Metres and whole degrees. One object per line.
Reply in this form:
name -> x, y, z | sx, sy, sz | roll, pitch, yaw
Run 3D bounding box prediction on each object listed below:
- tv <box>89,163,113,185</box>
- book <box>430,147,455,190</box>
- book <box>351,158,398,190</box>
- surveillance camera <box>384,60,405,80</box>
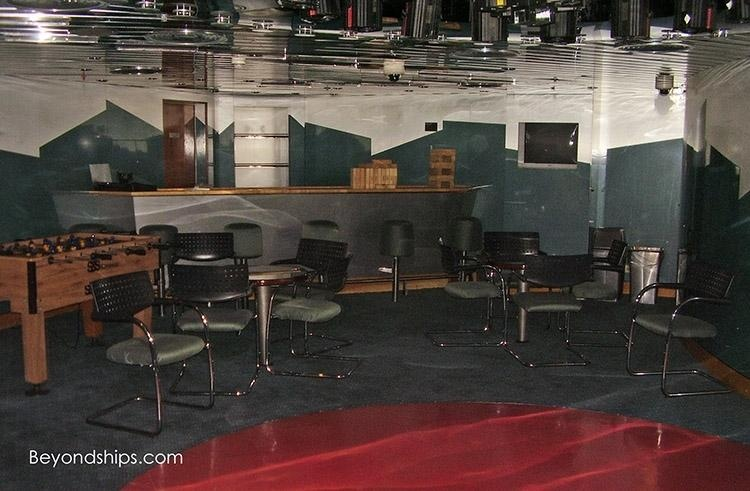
tv -> -4.686, -1.239, 10.173 | 0.280, 0.289, 1.773 | -5, 13, -25
book -> 1.292, -1.492, 11.423 | 0.451, 0.696, 0.525 | 1, 13, 2
book -> -0.035, -1.292, 10.819 | 0.996, 0.481, 0.773 | -3, 13, -19
surveillance camera -> 0.296, -2.680, 9.003 | 0.284, 0.202, 0.326 | 1, 16, -2
